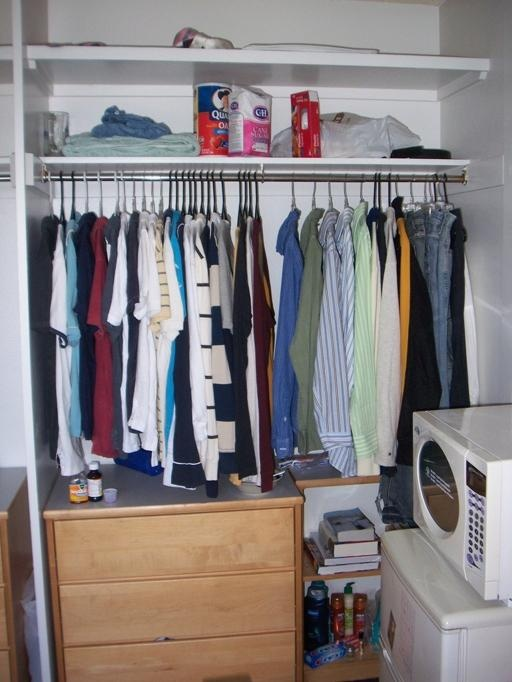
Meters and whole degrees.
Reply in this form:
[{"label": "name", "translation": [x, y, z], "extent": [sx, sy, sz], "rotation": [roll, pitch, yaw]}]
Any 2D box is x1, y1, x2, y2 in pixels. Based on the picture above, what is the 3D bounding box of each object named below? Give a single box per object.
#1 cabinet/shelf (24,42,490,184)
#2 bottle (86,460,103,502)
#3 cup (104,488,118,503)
[{"label": "cabinet/shelf", "translation": [0.019, -0.857, 2.067], "extent": [1.412, 0.161, 0.393], "rotation": [-6, 5, -6]}, {"label": "bottle", "translation": [-0.515, 0.435, 2.010], "extent": [0.047, 0.120, 0.150], "rotation": [-3, 5, -15]}, {"label": "cup", "translation": [-0.455, 0.478, 1.970], "extent": [0.042, 0.038, 0.068], "rotation": [-5, 5, -16]}]
